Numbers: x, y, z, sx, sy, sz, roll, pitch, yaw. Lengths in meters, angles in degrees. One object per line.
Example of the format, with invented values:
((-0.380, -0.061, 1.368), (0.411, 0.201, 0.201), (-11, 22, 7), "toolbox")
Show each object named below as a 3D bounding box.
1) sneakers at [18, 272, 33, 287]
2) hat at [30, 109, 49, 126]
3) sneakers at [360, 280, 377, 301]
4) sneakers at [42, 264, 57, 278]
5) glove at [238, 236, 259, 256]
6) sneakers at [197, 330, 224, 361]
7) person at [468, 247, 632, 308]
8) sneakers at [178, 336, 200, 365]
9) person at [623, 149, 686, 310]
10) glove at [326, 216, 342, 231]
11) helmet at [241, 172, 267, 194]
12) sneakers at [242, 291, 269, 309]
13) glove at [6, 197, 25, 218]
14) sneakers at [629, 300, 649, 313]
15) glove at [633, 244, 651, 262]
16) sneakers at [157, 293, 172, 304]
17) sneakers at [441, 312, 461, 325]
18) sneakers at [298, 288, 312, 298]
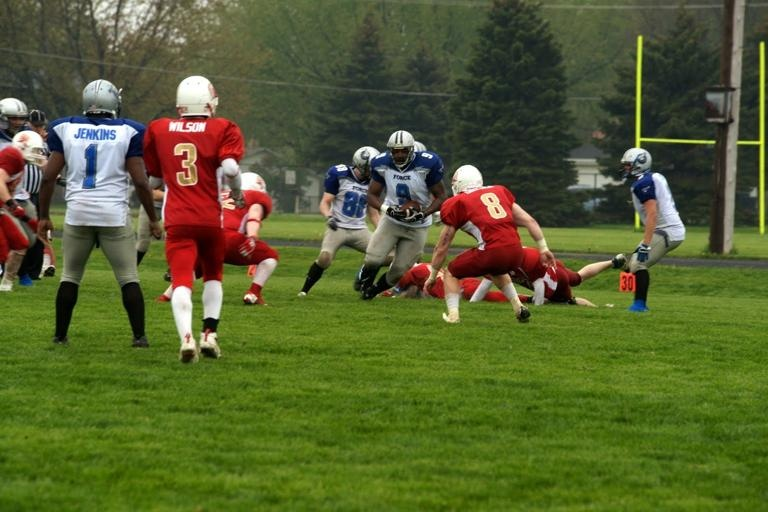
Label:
((-6.740, 0.424, 23.282), (0.192, 0.233, 0.270), (1, -9, -16), "sneakers")
((-6.913, -2.773, 24.780), (0.338, 0.210, 0.440), (1, 1, -27), "hat")
((-0.309, 0.655, 23.149), (0.148, 0.245, 0.524), (3, -14, -32), "sneakers")
((-6.521, 0.274, 24.137), (0.146, 0.147, 0.395), (3, -13, -30), "sneakers")
((-2.345, -0.191, 21.060), (0.399, 0.133, 0.286), (-34, -25, 10), "glove")
((-2.734, 1.375, 19.407), (0.262, 0.238, 0.529), (-3, -37, 1), "sneakers")
((2.933, 0.419, 23.380), (3.109, 0.980, 1.082), (0, 3, 17), "person")
((-3.023, 1.450, 19.168), (0.217, 0.491, 0.239), (4, 43, -11), "sneakers")
((4.933, -0.523, 22.974), (1.166, 2.977, 1.247), (2, 3, 9), "person")
((-1.034, -0.654, 23.582), (0.249, 0.284, 0.196), (-1, 4, -44), "glove")
((-2.368, -1.415, 22.608), (0.405, 0.429, 0.401), (-1, 24, -1), "helmet")
((-2.302, 0.781, 22.351), (0.532, 0.171, 0.215), (16, -51, -34), "sneakers")
((-6.291, -0.817, 21.064), (0.222, 0.392, 0.167), (-33, 15, 44), "glove")
((4.632, 0.894, 22.610), (0.345, 0.174, 0.185), (1, 5, 2), "sneakers")
((4.721, -0.096, 22.824), (0.309, 0.334, 0.251), (2, 3, 10), "glove")
((-3.924, 0.746, 22.105), (0.230, 0.155, 0.447), (0, -8, -20), "sneakers")
((1.078, 1.045, 21.377), (0.366, 0.218, 0.122), (14, 6, 32), "sneakers")
((-1.516, 0.687, 23.530), (0.174, 0.170, 0.447), (4, -2, 7), "sneakers")
